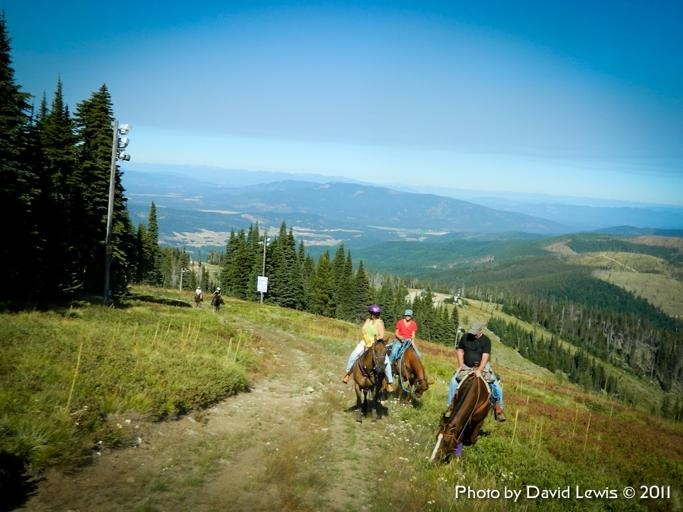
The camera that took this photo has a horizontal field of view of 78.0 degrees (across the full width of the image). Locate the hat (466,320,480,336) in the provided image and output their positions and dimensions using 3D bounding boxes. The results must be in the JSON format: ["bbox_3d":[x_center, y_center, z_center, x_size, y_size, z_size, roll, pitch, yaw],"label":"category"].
[{"bbox_3d":[5.150,2.740,16.185,0.455,0.476,1.207,7,-2,18],"label":"hat"}]

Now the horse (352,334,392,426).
[{"bbox_3d":[1.326,5.358,18.961,1.411,3.459,3.768,7,-2,9],"label":"horse"}]
